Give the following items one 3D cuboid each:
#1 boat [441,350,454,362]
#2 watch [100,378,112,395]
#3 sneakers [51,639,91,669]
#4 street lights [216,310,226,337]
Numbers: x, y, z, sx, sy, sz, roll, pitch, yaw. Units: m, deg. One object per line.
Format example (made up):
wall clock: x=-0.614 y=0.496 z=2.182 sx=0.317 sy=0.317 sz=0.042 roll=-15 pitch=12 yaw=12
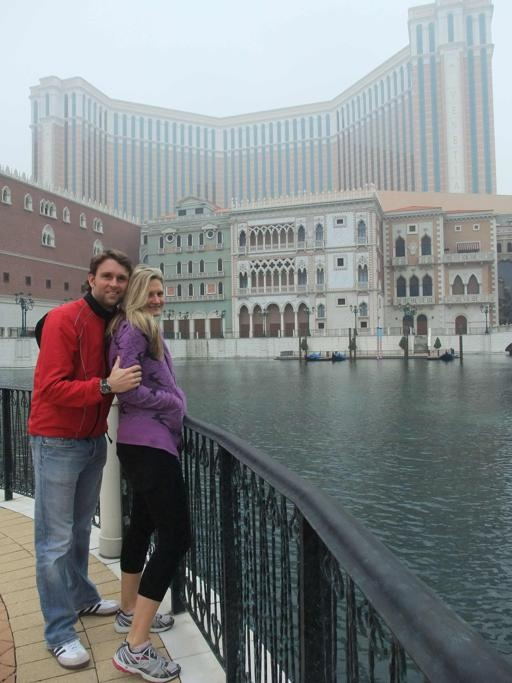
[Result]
boat: x=11.086 y=0.866 z=45.046 sx=0.711 sy=0.453 sz=1.062 roll=-2 pitch=3 yaw=11
watch: x=-0.655 y=0.193 z=3.357 sx=0.046 sy=0.073 sz=0.063 roll=-5 pitch=12 yaw=-35
sneakers: x=-0.810 y=1.378 z=3.388 sx=0.190 sy=0.095 sz=0.070 roll=-19 pitch=-24 yaw=41
street lights: x=-2.711 y=-1.404 z=59.662 sx=0.687 sy=2.053 sz=0.387 roll=0 pitch=1 yaw=40
